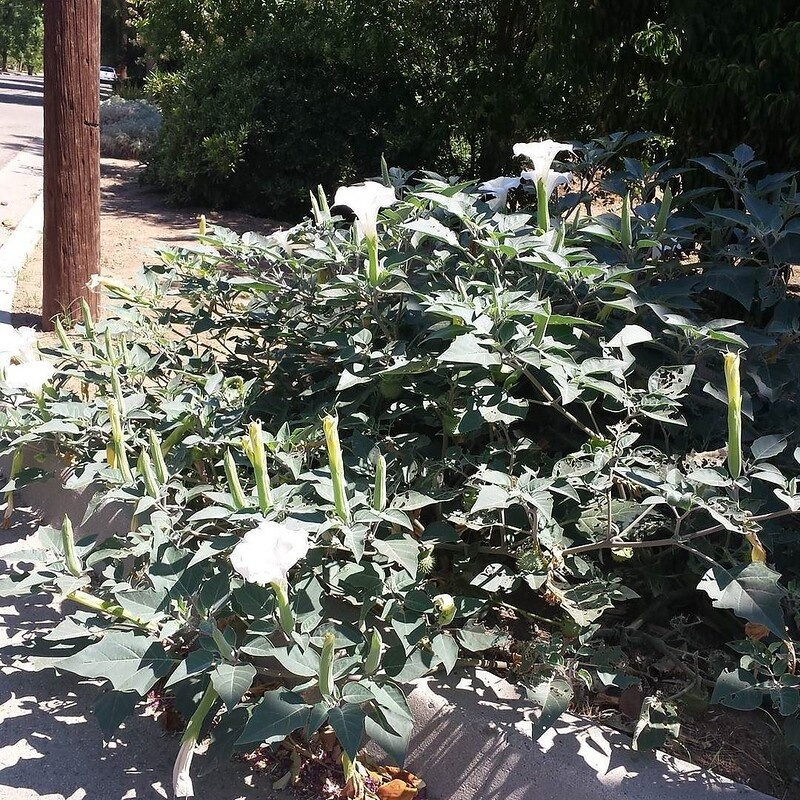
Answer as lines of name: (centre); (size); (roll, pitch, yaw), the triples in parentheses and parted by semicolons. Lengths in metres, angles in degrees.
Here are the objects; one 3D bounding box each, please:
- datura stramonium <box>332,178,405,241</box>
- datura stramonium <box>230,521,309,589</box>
datura stramonium: (-0.085, -0.504, 2.015); (0.194, 0.130, 0.167); (4, 41, 3)
datura stramonium: (-0.260, 0.305, 1.492); (0.151, 0.117, 0.080); (-4, 17, -22)
